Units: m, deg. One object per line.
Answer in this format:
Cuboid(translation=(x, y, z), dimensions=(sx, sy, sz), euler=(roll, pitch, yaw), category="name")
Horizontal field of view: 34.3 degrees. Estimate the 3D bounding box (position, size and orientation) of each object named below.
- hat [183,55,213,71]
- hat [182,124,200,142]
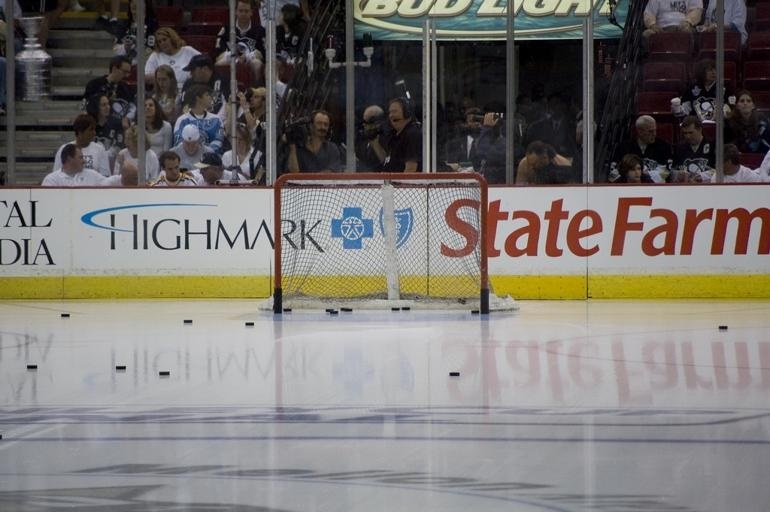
Cuboid(translation=(-2.539, -2.642, 17.131), dimensions=(0.304, 0.166, 0.214), euler=(-1, 4, 3), category="hat")
Cuboid(translation=(-2.616, -1.653, 16.877), dimensions=(0.180, 0.155, 0.253), euler=(4, 37, -8), category="hat")
